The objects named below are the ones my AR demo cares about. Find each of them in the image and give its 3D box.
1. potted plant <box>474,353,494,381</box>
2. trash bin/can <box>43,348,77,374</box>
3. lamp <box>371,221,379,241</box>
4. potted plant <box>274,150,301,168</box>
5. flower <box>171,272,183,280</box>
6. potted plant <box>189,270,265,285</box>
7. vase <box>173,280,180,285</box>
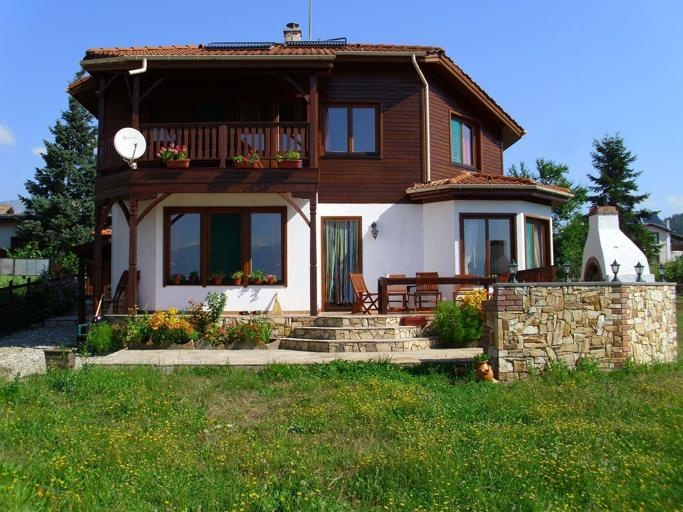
[{"bbox_3d":[3.275,2.585,14.769,0.433,0.699,0.496,-1,-14,-10],"label":"potted plant"},{"bbox_3d":[-6.596,2.428,14.914,0.554,0.617,0.451,0,2,-5],"label":"trash bin/can"},{"bbox_3d":[1.035,-0.785,19.961,0.240,0.520,0.153,-7,14,-30],"label":"lamp"},{"bbox_3d":[-1.540,-2.826,18.683,0.701,0.475,0.526,0,13,0],"label":"potted plant"},{"bbox_3d":[-4.999,0.661,19.394,0.286,0.223,0.260,5,14,17],"label":"flower"},{"bbox_3d":[-3.151,0.658,19.369,1.793,0.372,0.309,1,13,2],"label":"potted plant"},{"bbox_3d":[-4.997,0.791,19.309,0.126,0.210,0.139,0,4,8],"label":"vase"}]
